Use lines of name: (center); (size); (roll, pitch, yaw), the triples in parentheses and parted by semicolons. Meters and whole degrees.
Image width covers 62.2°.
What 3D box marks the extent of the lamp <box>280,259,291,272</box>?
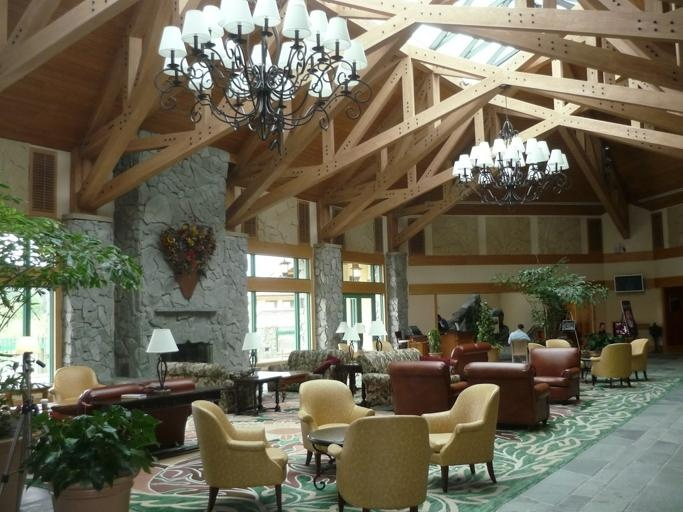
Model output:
lamp: (-1.587, 0.261, 16.117); (0.294, 0.319, 0.298); (0, -5, -3)

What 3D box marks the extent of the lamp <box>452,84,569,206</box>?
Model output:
lamp: (3.348, -2.222, 11.471); (2.000, 2.040, 1.854); (1, 5, 35)

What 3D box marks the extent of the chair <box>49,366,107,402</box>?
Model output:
chair: (-4.499, 2.160, 9.691); (0.733, 0.833, 0.702); (3, -15, -33)

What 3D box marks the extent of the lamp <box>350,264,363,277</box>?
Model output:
lamp: (0.490, 0.470, 18.845); (0.396, 0.516, 0.401); (1, 4, -6)

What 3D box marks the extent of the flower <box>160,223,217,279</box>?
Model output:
flower: (-3.277, -0.185, 12.178); (0.772, 1.019, 1.086); (-27, 32, -25)
